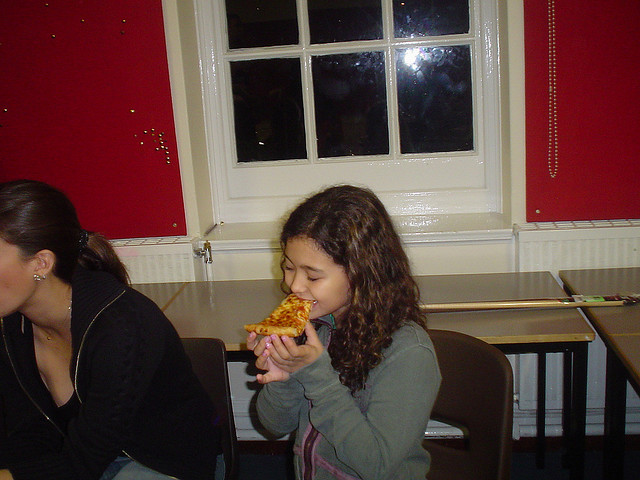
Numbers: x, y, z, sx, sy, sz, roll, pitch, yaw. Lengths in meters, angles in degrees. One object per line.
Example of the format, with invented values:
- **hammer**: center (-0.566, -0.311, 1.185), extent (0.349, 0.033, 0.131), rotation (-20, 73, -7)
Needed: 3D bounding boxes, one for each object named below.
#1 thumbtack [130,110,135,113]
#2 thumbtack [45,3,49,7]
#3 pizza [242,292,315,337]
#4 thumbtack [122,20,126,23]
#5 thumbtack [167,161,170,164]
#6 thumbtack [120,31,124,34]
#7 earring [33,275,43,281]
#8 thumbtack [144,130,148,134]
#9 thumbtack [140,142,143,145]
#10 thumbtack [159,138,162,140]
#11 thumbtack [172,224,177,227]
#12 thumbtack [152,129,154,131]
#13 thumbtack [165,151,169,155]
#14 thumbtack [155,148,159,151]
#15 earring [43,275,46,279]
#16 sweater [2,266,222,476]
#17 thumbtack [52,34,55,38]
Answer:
- **thumbtack**: center (-0.867, -0.594, 2.381), extent (0.013, 0.014, 0.003), rotation (2, 2, -6)
- **thumbtack**: center (-1.221, -1.048, 2.298), extent (0.014, 0.014, 0.003), rotation (3, 10, -3)
- **pizza**: center (-0.091, 0.212, 1.383), extent (0.117, 0.025, 0.151), rotation (-2, 40, 32)
- **thumbtack**: center (-0.880, -0.978, 2.307), extent (0.013, 0.014, 0.007), rotation (2, 1, 3)
- **thumbtack**: center (-0.712, -0.364, 2.419), extent (0.010, 0.010, 0.002), rotation (2, 0, 1)
- **thumbtack**: center (-0.890, -0.930, 2.315), extent (0.018, 0.009, 0.005), rotation (-3, 2, -5)
- **earring**: center (-0.784, 0.106, 1.429), extent (0.022, 0.015, 0.010), rotation (-5, 3, -41)
- **thumbtack**: center (-0.812, -0.502, 2.398), extent (0.013, 0.013, 0.003), rotation (1, 5, -4)
- **thumbtack**: center (-0.834, -0.453, 2.410), extent (0.010, 0.011, 0.007), rotation (1, 4, -1)
- **thumbtack**: center (-0.744, -0.470, 2.402), extent (0.014, 0.010, 0.003), rotation (0, -1, 4)
- **thumbtack**: center (-0.698, -0.070, 2.477), extent (0.015, 0.016, 0.004), rotation (4, 0, -3)
- **thumbtack**: center (-0.777, -0.512, 2.395), extent (0.009, 0.010, 0.002), rotation (2, 2, -5)
- **thumbtack**: center (-0.716, -0.406, 2.413), extent (0.019, 0.011, 0.005), rotation (-3, 2, -5)
- **thumbtack**: center (-0.763, -0.424, 2.412), extent (0.013, 0.014, 0.003), rotation (2, 2, -4)
- **earring**: center (-0.769, 0.104, 1.437), extent (0.007, 0.015, 0.006), rotation (4, 4, -31)
- **sweater**: center (-0.626, 0.407, 1.476), extent (0.612, 0.490, 0.248), rotation (-3, 2, -5)
- **thumbtack**: center (-1.202, -0.920, 2.322), extent (0.012, 0.013, 0.003), rotation (1, -1, -1)
